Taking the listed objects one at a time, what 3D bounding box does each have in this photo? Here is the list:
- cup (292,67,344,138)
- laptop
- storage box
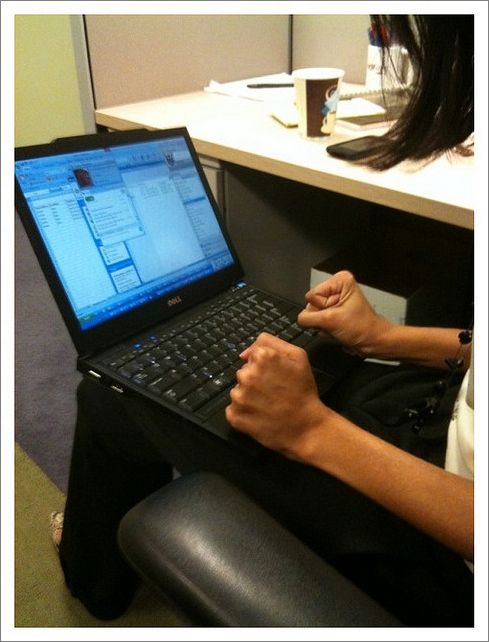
[{"bbox_3d":[0.117,-0.382,0.867,0.108,0.102,0.102,-1,31,0],"label":"cup"},{"bbox_3d":[-0.109,-0.009,0.692,0.410,0.271,0.376,33,37,21],"label":"laptop"},{"bbox_3d":[0.252,-0.083,0.942,0.190,0.111,0.187,20,33,29],"label":"storage box"}]
